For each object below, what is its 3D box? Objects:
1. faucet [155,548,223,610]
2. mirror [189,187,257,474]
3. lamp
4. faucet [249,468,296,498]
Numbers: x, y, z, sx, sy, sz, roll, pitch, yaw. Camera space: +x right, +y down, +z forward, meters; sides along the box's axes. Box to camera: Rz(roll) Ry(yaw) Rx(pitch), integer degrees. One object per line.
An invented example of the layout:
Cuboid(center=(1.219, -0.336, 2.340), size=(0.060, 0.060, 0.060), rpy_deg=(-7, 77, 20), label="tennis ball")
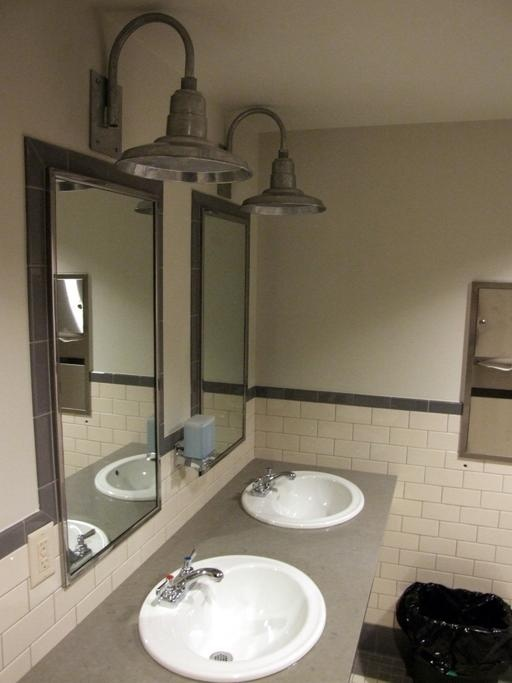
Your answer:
Cuboid(center=(-0.177, 0.610, 1.528), size=(0.105, 0.056, 0.143), rpy_deg=(3, 3, 9), label="faucet")
Cuboid(center=(-0.119, -0.038, 2.318), size=(0.052, 1.001, 0.665), rpy_deg=(5, 7, 15), label="mirror")
Cuboid(center=(-0.133, -0.629, 1.622), size=(0.296, 0.346, 0.644), rpy_deg=(0, -1, 21), label="lamp")
Cuboid(center=(0.048, 0.537, 2.292), size=(0.136, 0.049, 0.104), rpy_deg=(-1, 2, 22), label="faucet")
